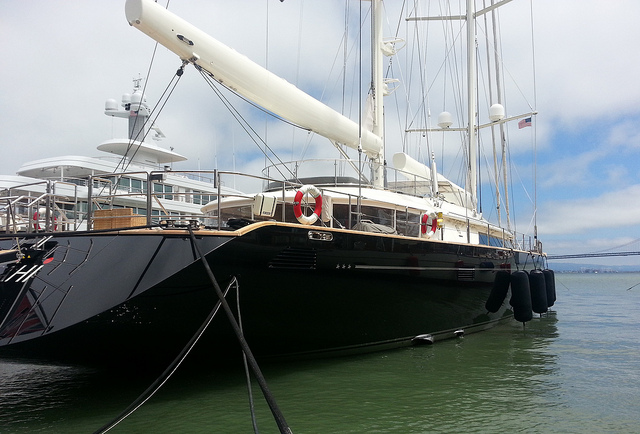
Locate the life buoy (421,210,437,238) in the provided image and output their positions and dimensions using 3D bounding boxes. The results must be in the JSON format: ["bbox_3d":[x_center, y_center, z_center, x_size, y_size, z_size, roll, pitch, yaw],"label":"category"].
[{"bbox_3d":[2.502,0.175,11.653,0.363,0.572,0.238,1,6,3],"label":"life buoy"}]

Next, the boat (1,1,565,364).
[{"bbox_3d":[0.589,1.285,12.490,6.950,4.583,13.290,-6,-13,38],"label":"boat"}]
